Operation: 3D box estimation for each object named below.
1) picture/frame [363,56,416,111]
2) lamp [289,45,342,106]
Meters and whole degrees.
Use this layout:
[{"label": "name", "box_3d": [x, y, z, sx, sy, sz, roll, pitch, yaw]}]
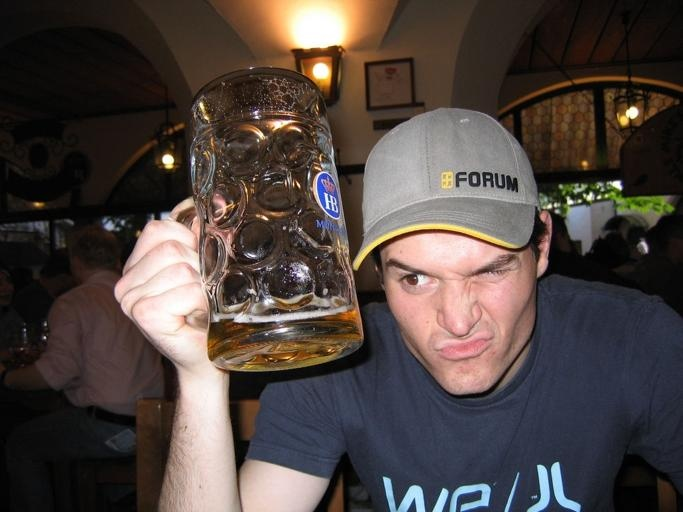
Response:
[{"label": "picture/frame", "box_3d": [0.345, -1.196, 4.199, 0.372, 0.367, 0.027, -1, -2, 7]}, {"label": "lamp", "box_3d": [-0.146, -1.289, 4.334, 0.332, 0.419, 0.465, 0, 19, 12]}]
